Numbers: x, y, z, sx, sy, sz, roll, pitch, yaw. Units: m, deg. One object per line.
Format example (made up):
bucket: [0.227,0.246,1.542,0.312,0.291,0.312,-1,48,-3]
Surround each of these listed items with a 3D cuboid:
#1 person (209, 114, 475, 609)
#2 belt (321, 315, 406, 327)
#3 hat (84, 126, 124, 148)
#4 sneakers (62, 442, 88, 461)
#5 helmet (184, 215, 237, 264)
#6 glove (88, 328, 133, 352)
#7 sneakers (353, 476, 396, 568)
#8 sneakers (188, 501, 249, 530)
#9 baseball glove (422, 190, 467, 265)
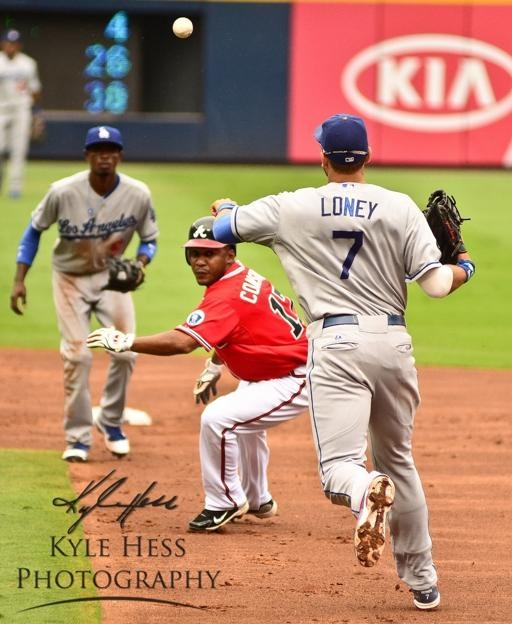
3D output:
person: [0.278,0.326,3.657,0.748,1.602,0.500,8,10,33]
belt: [0.418,0.036,3.633,0.328,0.057,0.081,0,8,-16]
hat: [-0.886,-1.015,5.734,0.198,0.140,0.364,1,7,-10]
sneakers: [-1.059,0.817,5.787,0.154,0.123,0.226,1,7,-9]
helmet: [-0.232,-0.395,4.751,0.213,0.134,0.258,1,16,9]
glove: [-0.614,0.121,4.110,0.175,0.094,0.052,3,-26,-26]
sneakers: [0.416,0.722,3.382,0.145,0.324,0.103,0,9,-21]
sneakers: [-0.188,0.983,4.718,0.317,0.117,0.100,-13,16,-30]
baseball glove: [0.853,-0.331,4.138,0.185,0.288,0.213,16,-28,-32]
